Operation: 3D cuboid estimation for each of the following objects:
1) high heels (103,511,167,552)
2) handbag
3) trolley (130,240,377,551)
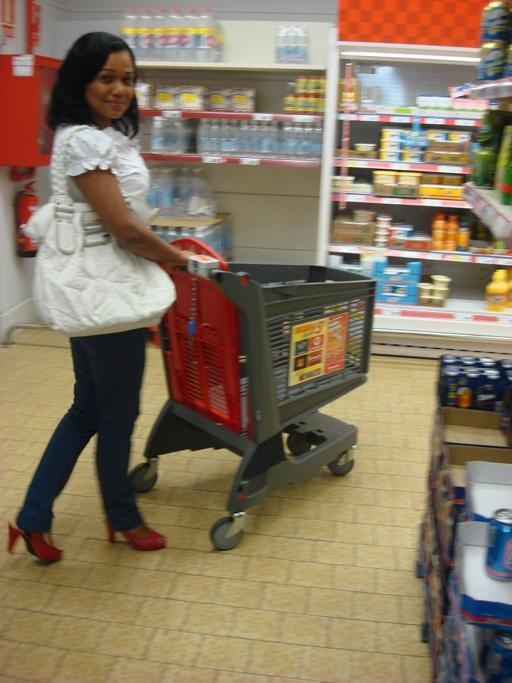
[{"bbox_3d":[-0.423,0.667,1.961,0.220,0.081,0.104,2,18,-11],"label":"high heels"},{"bbox_3d":[-0.429,-0.296,1.556,0.401,0.571,0.229,-4,17,-19],"label":"handbag"},{"bbox_3d":[0.015,0.126,2.158,0.932,0.882,0.598,-9,15,-35],"label":"trolley"}]
